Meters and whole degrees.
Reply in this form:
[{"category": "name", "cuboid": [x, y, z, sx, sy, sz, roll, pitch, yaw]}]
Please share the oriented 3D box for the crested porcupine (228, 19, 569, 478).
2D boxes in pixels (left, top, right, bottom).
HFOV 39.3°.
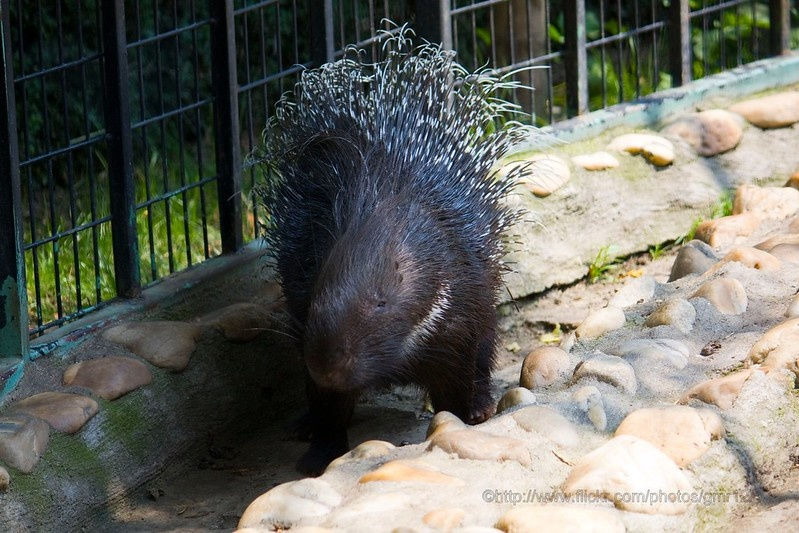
[{"category": "crested porcupine", "cuboid": [-0.026, -0.188, 4.491, 0.911, 1.001, 1.913, 0, 31, 2]}]
